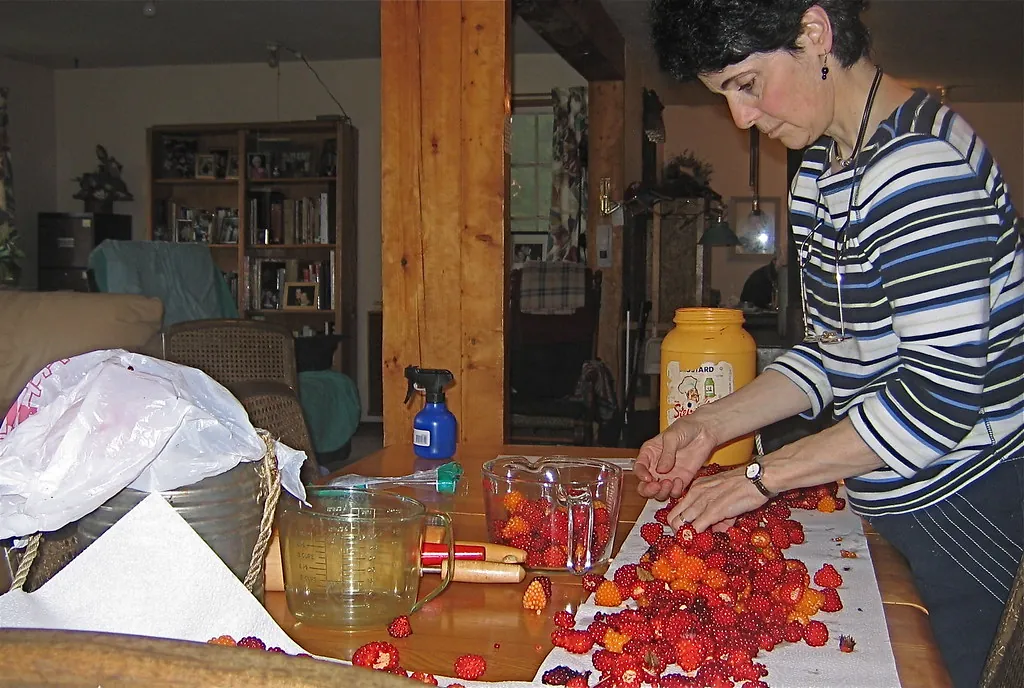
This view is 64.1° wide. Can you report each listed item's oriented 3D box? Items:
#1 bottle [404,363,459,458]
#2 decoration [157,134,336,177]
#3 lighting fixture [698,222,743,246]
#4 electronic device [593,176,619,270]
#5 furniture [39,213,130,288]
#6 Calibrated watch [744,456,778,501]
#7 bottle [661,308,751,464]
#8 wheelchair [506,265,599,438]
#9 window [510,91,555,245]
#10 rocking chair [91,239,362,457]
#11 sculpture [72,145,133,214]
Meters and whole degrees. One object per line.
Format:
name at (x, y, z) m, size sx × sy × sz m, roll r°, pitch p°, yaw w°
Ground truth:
bottle at (-0.171, 0.146, 1.757) m, size 0.109 × 0.202 × 0.091 m, roll -2°, pitch 12°, yaw -11°
decoration at (-1.985, -1.416, 6.130) m, size 1.418 × 0.426 × 0.374 m, roll -1°, pitch 11°, yaw 20°
lighting fixture at (1.367, -0.712, 5.482) m, size 0.262 × 0.128 × 0.266 m, roll 0°, pitch -4°, yaw 1°
electronic device at (0.659, -0.796, 5.373) m, size 0.183 × 0.602 × 0.140 m, roll 1°, pitch 7°, yaw 16°
furniture at (-3.456, -0.598, 6.533) m, size 0.516 × 0.860 × 0.521 m, roll 2°, pitch 10°, yaw -1°
Calibrated watch at (0.407, 0.226, 1.329) m, size 0.055 × 0.057 × 0.021 m, roll 39°, pitch 9°, yaw 20°
bottle at (0.460, 0.100, 1.906) m, size 0.205 × 0.359 × 0.207 m, roll 0°, pitch 5°, yaw 0°
wheelchair at (0.211, 0.139, 4.245) m, size 0.505 × 0.896 × 0.835 m, roll 1°, pitch 5°, yaw 3°
window at (0.188, -1.392, 6.399) m, size 0.504 × 0.947 × 0.035 m, roll 0°, pitch 5°, yaw 2°
rocking chair at (-1.349, 0.082, 4.168) m, size 1.143 × 1.219 × 1.109 m, roll 2°, pitch 3°, yaw -21°
sculpture at (-3.195, -1.306, 6.411) m, size 0.404 × 0.524 × 0.344 m, roll -9°, pitch 33°, yaw -38°
